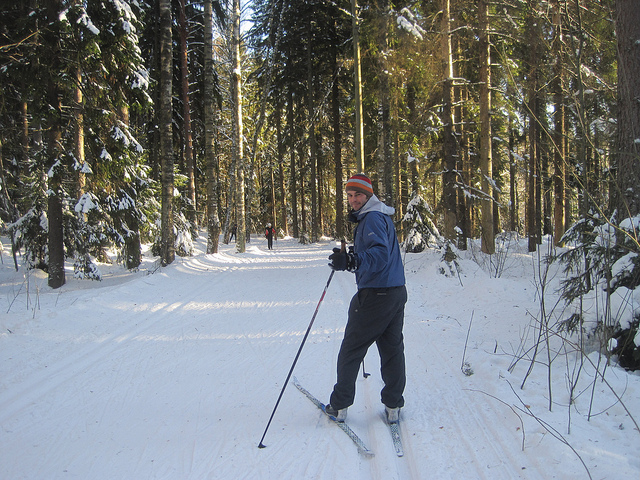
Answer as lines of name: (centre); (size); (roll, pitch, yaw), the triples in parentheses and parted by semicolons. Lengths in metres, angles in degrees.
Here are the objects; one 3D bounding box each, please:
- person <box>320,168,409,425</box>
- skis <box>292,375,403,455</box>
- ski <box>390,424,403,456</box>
person: (0.846, 1.021, 10.565); (1.291, 4.389, 0.657); (-1, 2, 4)
skis: (0.496, 3.121, 10.630); (0.148, 0.245, 1.973); (-2, 34, -31)
ski: (1.302, 3.431, 10.355); (0.137, 0.072, 0.860); (-8, 15, -1)
